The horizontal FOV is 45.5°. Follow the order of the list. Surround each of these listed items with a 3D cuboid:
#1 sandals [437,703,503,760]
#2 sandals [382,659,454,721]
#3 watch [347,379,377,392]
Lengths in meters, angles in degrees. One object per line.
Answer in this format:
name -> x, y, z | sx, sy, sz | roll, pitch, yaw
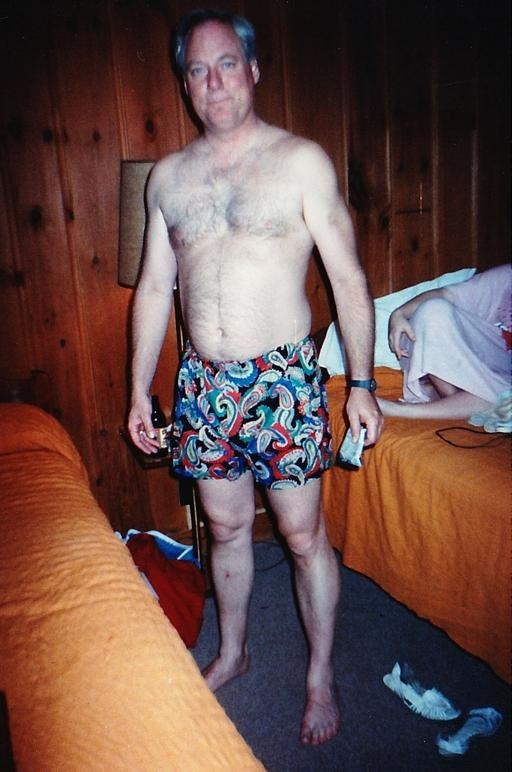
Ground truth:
sandals -> 0.444, 0.718, 1.267 | 0.170, 0.016, 0.062 | -10, 15, -27
sandals -> 0.370, 0.697, 1.372 | 0.079, 0.020, 0.189 | -11, 16, -29
watch -> 0.209, 0.002, 1.190 | 0.039, 0.026, 0.042 | 3, -2, 10
